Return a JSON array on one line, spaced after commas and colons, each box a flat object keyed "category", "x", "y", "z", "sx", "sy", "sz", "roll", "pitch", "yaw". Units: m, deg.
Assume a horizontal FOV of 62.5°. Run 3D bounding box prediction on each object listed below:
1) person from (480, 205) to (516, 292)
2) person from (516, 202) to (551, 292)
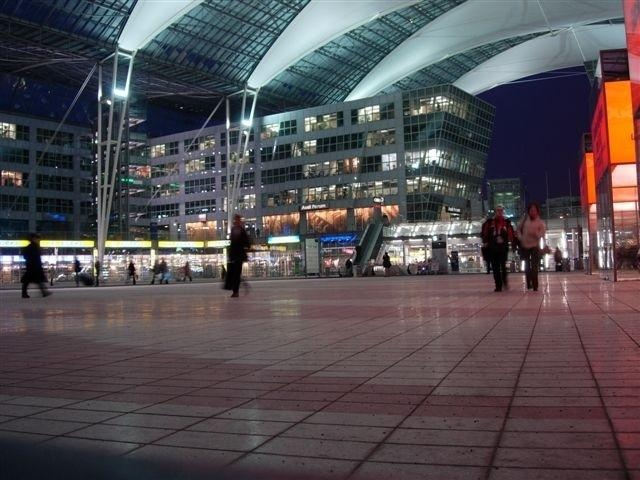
[{"category": "person", "x": 4.867, "y": 0.291, "z": 14.196, "sx": 0.842, "sy": 2.260, "sz": 1.215, "roll": -2, "pitch": 0, "yaw": 28}, {"category": "person", "x": 5.684, "y": 0.248, "z": 14.187, "sx": 0.622, "sy": 2.343, "sz": 1.525, "roll": -2, "pitch": 0, "yaw": 21}]
